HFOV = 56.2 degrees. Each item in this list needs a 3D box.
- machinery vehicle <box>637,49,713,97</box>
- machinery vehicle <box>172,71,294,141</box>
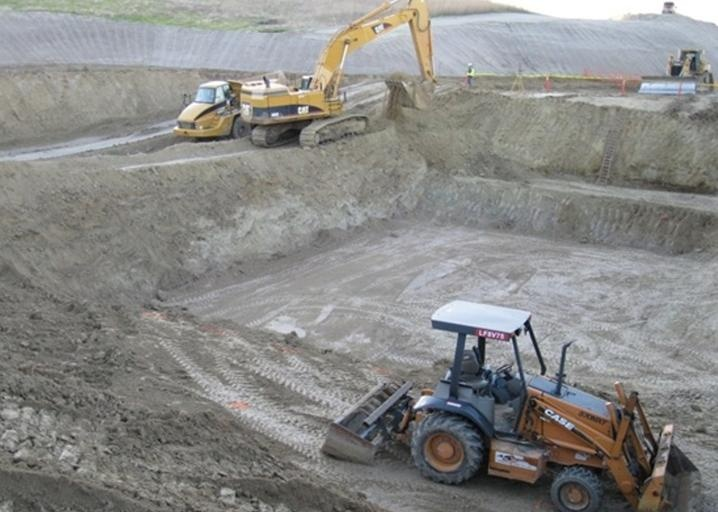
[{"bbox_3d":[14.322,-7.998,29.879,2.818,1.710,5.239,7,19,35],"label":"machinery vehicle"},{"bbox_3d":[-4.626,-5.776,25.689,2.133,2.128,4.955,16,29,36],"label":"machinery vehicle"}]
